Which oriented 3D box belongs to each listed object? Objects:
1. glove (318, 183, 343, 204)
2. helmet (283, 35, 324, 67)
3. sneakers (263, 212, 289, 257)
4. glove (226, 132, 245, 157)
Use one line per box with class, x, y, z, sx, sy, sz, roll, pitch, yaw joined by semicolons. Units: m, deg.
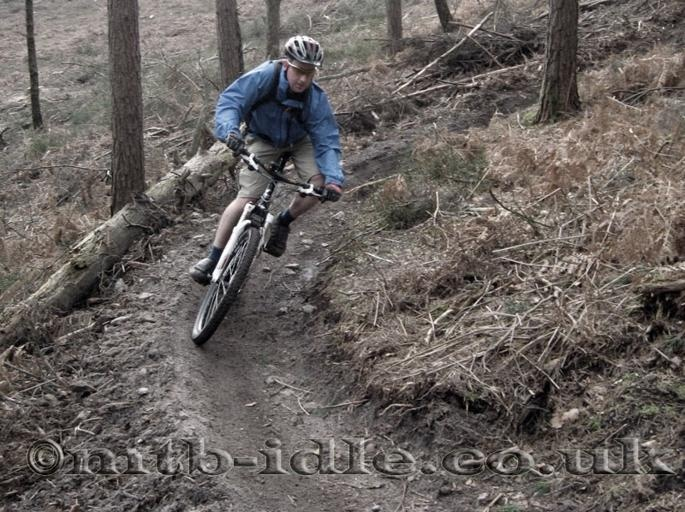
glove;-0.142;-0.714;8.041;0.234;0.273;0.301;-8;34;0
helmet;-0.427;-2.349;7.906;0.486;0.228;0.580;5;21;-13
sneakers;-0.808;-0.264;8.706;0.248;0.549;0.284;12;-9;-30
glove;-1.208;-1.232;7.724;0.203;0.219;0.099;-12;9;-39
